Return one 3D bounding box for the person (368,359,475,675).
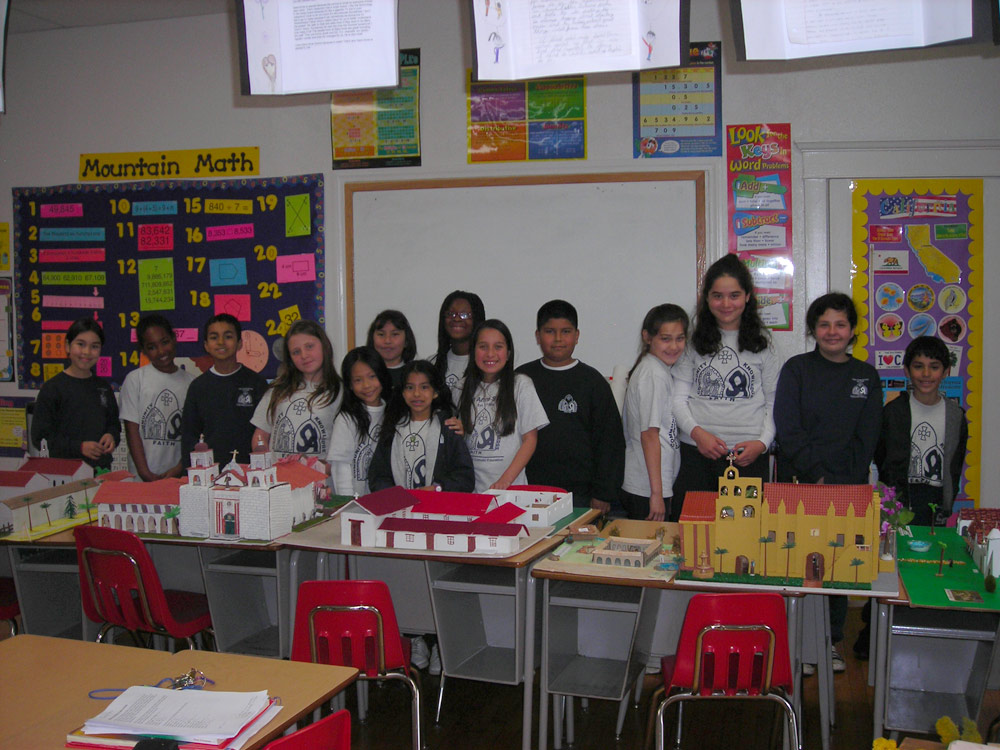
[{"bbox_3d":[-0.328,0.588,3.593,0.444,1.255,0.411,0,7,17],"label":"person"}]

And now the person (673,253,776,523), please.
[{"bbox_3d":[0.987,0.082,3.723,0.461,1.208,0.377,-1,7,11],"label":"person"}]

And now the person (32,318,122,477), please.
[{"bbox_3d":[-2.249,0.149,4.510,0.432,0.864,0.553,-7,8,-33],"label":"person"}]

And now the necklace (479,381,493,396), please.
[{"bbox_3d":[-0.064,0.060,3.666,0.047,0.014,0.053,7,27,25],"label":"necklace"}]

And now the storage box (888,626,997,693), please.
[{"bbox_3d":[1.541,0.986,2.932,0.309,0.246,0.178,0,1,20],"label":"storage box"}]
